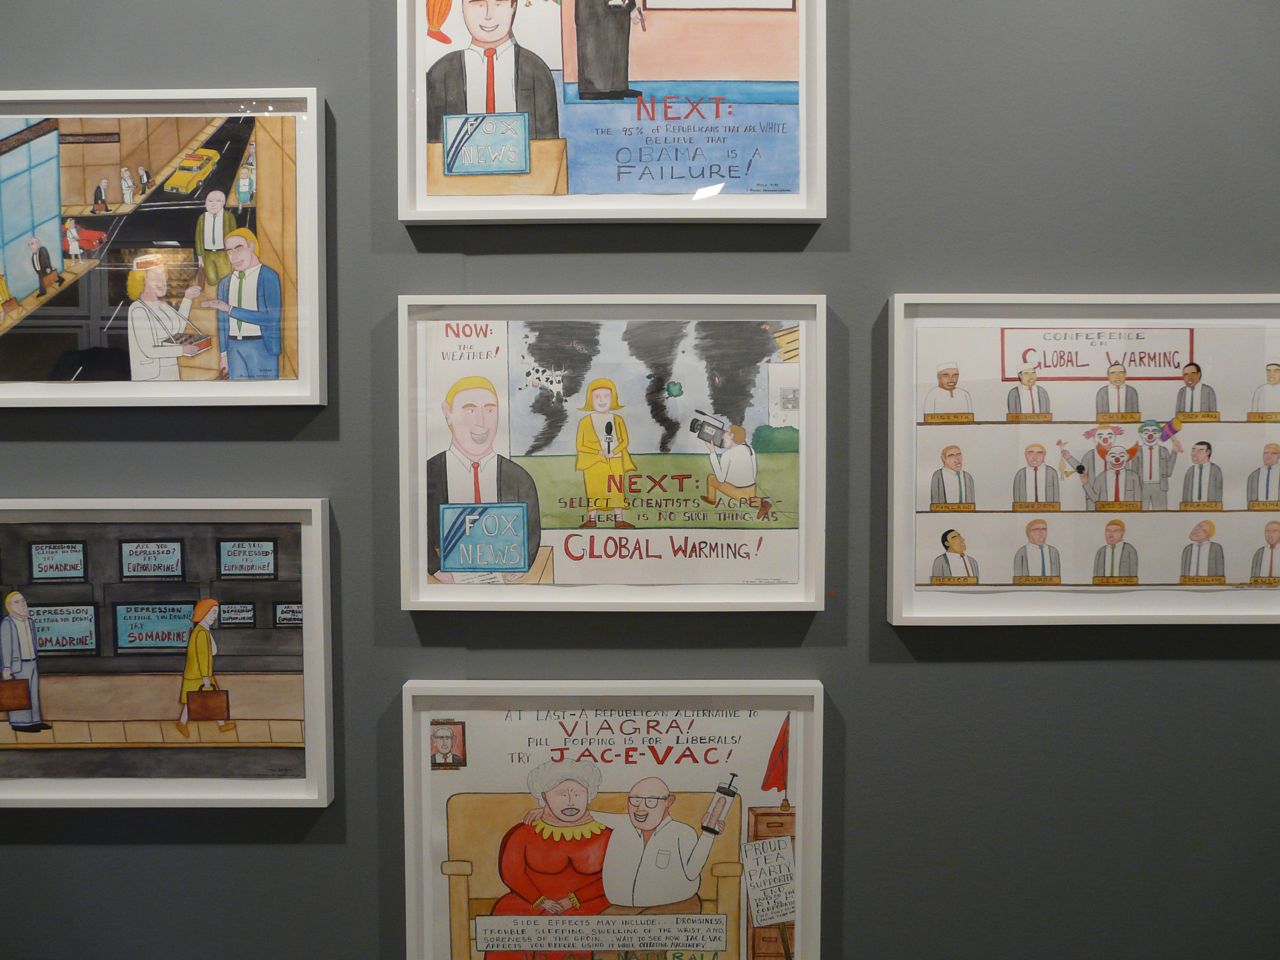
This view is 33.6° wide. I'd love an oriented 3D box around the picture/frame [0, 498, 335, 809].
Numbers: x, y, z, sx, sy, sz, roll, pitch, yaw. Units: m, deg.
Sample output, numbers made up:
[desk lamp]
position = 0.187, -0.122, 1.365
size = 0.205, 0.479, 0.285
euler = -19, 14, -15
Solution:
[picture/frame]
position = -0.766, 0.267, 3.455
size = 0.446, 0.373, 0.036
euler = 0, -4, -1
